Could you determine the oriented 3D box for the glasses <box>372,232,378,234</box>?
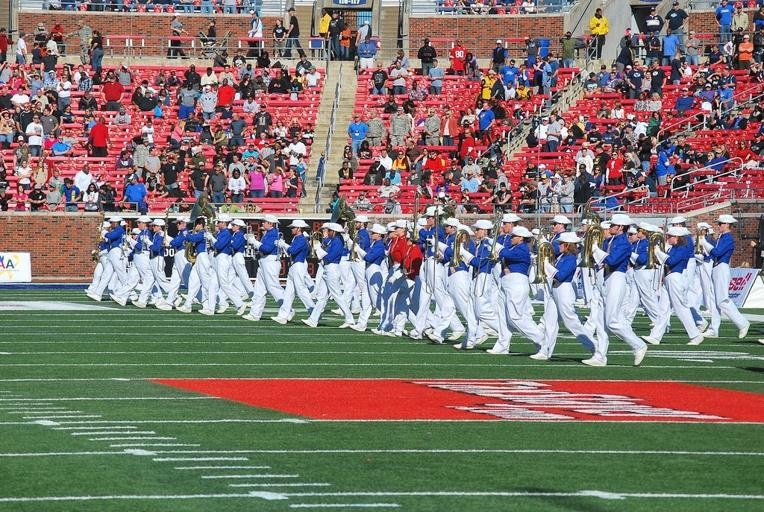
[{"bbox_3d":[-0.055,-0.448,42.934,0.067,0.040,0.084,8,2,-42],"label":"glasses"}]

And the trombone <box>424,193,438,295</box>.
[{"bbox_3d":[1.039,-0.153,41.850,0.337,1.612,0.247,2,-2,-18],"label":"trombone"}]

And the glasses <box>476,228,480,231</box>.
[{"bbox_3d":[1.919,-0.508,40.894,0.097,0.059,0.087,0,2,-14],"label":"glasses"}]

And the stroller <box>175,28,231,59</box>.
[{"bbox_3d":[-5.193,-6.230,61.901,1.802,0.576,1.150,1,3,0],"label":"stroller"}]

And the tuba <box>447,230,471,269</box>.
[{"bbox_3d":[1.578,-0.162,41.046,0.343,0.841,1.195,4,15,11],"label":"tuba"}]

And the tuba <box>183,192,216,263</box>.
[{"bbox_3d":[-3.927,-0.637,46.398,0.753,1.470,0.638,0,-3,1],"label":"tuba"}]
